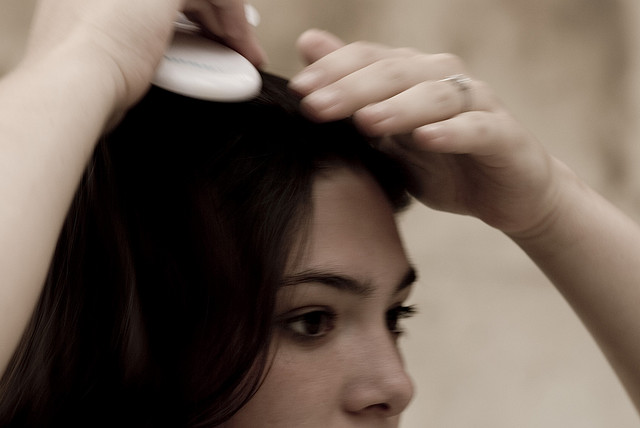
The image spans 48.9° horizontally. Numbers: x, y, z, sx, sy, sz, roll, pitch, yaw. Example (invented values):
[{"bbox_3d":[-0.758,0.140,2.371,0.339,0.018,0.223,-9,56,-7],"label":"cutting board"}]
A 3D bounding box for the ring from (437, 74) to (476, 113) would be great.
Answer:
[{"bbox_3d":[0.234,-0.206,1.170,0.058,0.029,0.073,-11,53,-14],"label":"ring"}]
